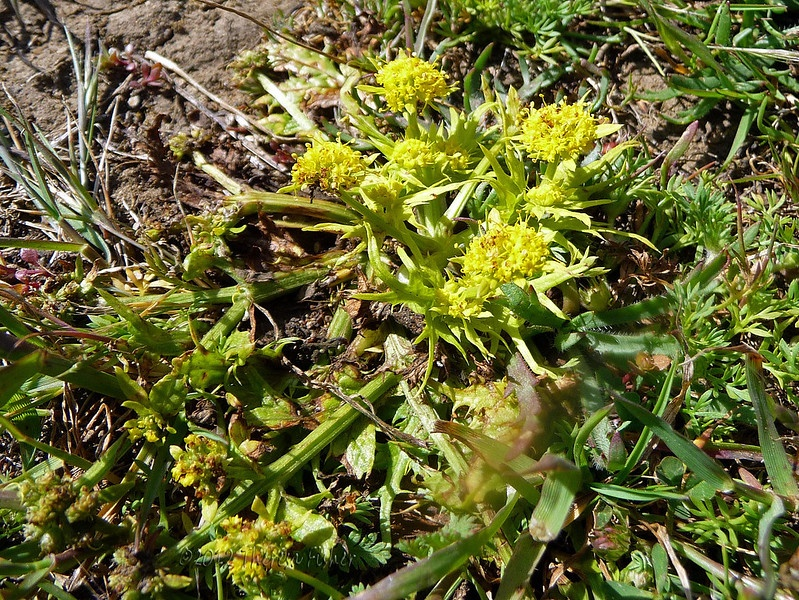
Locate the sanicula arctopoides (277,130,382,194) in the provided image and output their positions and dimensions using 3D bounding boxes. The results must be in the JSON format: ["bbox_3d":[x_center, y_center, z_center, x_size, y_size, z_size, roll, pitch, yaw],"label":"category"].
[{"bbox_3d":[-0.194,-0.401,2.012,0.195,0.134,0.178,11,64,8],"label":"sanicula arctopoides"}]

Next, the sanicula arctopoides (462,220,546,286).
[{"bbox_3d":[0.288,-0.136,1.842,0.180,0.083,0.180,14,56,27],"label":"sanicula arctopoides"}]

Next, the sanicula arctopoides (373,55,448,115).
[{"bbox_3d":[0.048,-0.671,2.089,0.201,0.128,0.143,-26,65,-11],"label":"sanicula arctopoides"}]

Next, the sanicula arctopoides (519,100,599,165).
[{"bbox_3d":[0.447,-0.478,1.954,0.196,0.109,0.193,19,68,17],"label":"sanicula arctopoides"}]
